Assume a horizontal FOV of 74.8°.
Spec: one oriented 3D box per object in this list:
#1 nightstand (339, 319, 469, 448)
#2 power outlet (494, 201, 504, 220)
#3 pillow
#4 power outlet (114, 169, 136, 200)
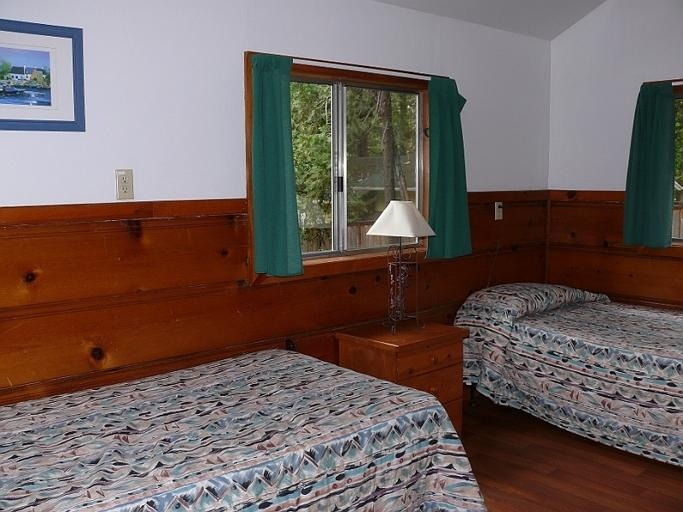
[{"bbox_3d":[0.399,0.866,3.081,0.706,0.614,0.546,5,-2,-42],"label":"nightstand"},{"bbox_3d":[1.406,-0.398,4.027,0.125,0.168,0.027,-6,11,-41],"label":"power outlet"},{"bbox_3d":[1.522,0.392,3.777,1.019,0.230,0.627,-9,-4,-38],"label":"pillow"},{"bbox_3d":[-1.106,-0.364,2.304,0.088,0.161,0.029,-3,10,-26],"label":"power outlet"}]
